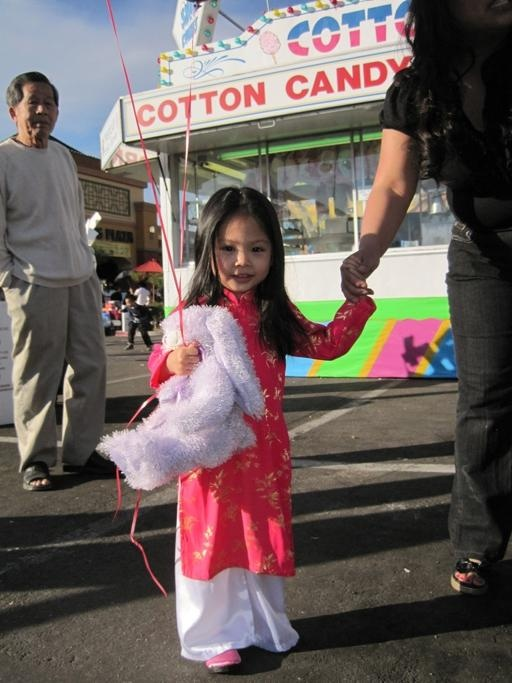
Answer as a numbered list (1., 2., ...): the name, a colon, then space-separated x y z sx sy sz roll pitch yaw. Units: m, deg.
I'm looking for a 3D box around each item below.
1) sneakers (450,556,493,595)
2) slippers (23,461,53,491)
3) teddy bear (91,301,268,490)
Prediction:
1. sneakers: 0.682 0.723 2.027 0.080 0.070 0.131 11 15 42
2. slippers: -1.090 0.666 3.211 0.128 0.109 0.197 -4 5 -18
3. teddy bear: -0.175 0.134 1.670 0.384 0.442 0.229 -7 6 -41
